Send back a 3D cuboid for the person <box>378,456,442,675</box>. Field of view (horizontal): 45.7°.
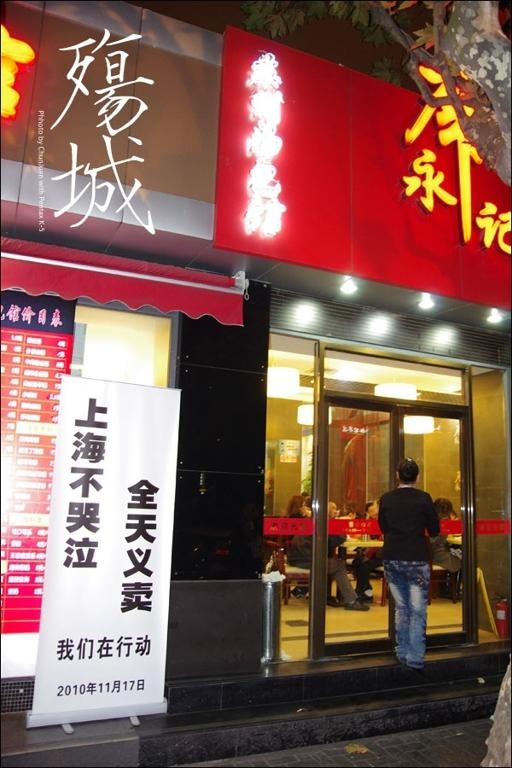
[{"bbox_3d":[1.135,1.331,4.562,0.448,1.521,0.308,-1,-8,19],"label":"person"}]

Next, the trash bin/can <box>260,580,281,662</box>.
[{"bbox_3d":[0.123,1.711,4.425,0.090,0.584,0.232,-4,-9,38],"label":"trash bin/can"}]

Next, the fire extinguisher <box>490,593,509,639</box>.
[{"bbox_3d":[2.255,2.149,5.605,0.148,0.364,0.149,-1,-8,18],"label":"fire extinguisher"}]

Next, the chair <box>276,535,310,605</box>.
[{"bbox_3d":[0.244,1.411,4.664,0.295,0.484,0.310,-9,-19,38],"label":"chair"}]

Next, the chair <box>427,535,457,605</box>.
[{"bbox_3d":[1.645,1.623,5.451,0.253,0.543,0.253,-16,-17,33],"label":"chair"}]

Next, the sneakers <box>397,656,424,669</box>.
[{"bbox_3d":[1.133,2.067,4.483,0.118,0.049,0.093,2,-4,8],"label":"sneakers"}]
